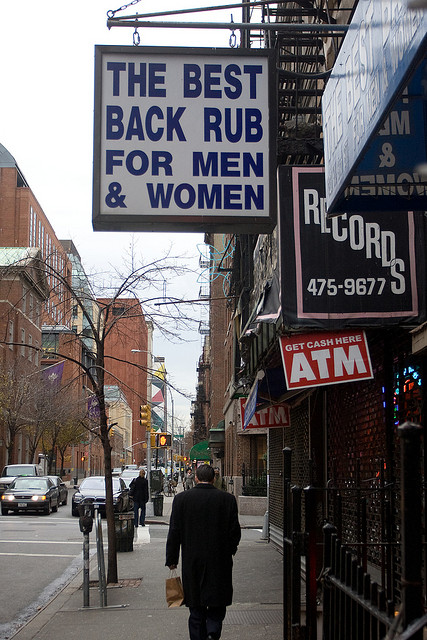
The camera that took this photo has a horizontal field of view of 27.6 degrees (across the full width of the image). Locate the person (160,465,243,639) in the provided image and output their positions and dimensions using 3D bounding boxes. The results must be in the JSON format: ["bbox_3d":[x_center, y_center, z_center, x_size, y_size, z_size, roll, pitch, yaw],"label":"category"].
[{"bbox_3d":[-0.077,1.731,6.631,0.570,1.309,0.586,-1,-11,-3],"label":"person"}]

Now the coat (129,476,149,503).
[{"bbox_3d":[-1.862,4.299,22.233,0.431,0.617,0.524,1,-13,-12],"label":"coat"}]

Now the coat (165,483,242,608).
[{"bbox_3d":[-0.097,1.823,6.831,0.443,1.570,0.377,0,27,-2],"label":"coat"}]

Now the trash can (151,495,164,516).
[{"bbox_3d":[-1.783,5.976,28.434,0.413,1.146,0.501,-1,-1,-1],"label":"trash can"}]

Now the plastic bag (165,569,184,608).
[{"bbox_3d":[-0.301,2.084,6.806,0.125,0.280,0.457,-1,-15,-4],"label":"plastic bag"}]

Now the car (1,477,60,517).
[{"bbox_3d":[-6.395,6.160,31.004,0.804,1.073,2.392,-1,-17,-2],"label":"car"}]

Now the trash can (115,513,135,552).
[{"bbox_3d":[-1.618,3.917,16.095,0.446,1.037,0.591,0,-2,-6],"label":"trash can"}]

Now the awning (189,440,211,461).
[{"bbox_3d":[-0.886,8.533,58.323,1.027,1.142,4.334,-1,-17,-6],"label":"awning"}]
